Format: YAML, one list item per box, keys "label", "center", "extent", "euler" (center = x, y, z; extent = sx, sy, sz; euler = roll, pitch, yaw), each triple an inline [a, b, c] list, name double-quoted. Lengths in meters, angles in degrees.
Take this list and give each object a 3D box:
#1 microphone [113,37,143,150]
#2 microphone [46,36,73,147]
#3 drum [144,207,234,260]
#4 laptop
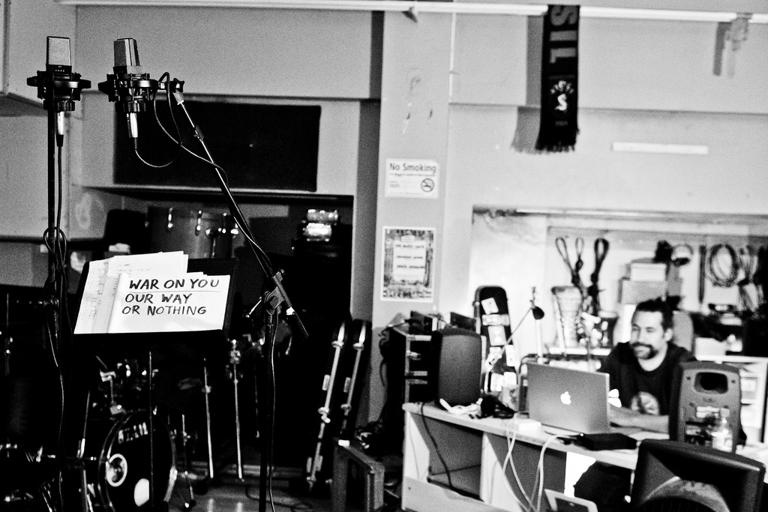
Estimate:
- label: "microphone"
  center: [-1.610, -1.039, 5.440]
  extent: [0.186, 0.606, 0.138]
  euler: [3, 0, 7]
- label: "microphone"
  center: [-2.093, -1.088, 5.604]
  extent: [0.168, 0.623, 0.164]
  euler: [3, 0, -23]
- label: "drum"
  center: [-1.698, -0.102, 7.520]
  extent: [0.571, 0.411, 0.590]
  euler: [2, -4, 0]
- label: "laptop"
  center: [1.297, 1.021, 6.205]
  extent: [0.610, 0.498, 0.132]
  euler: [3, 0, 34]
